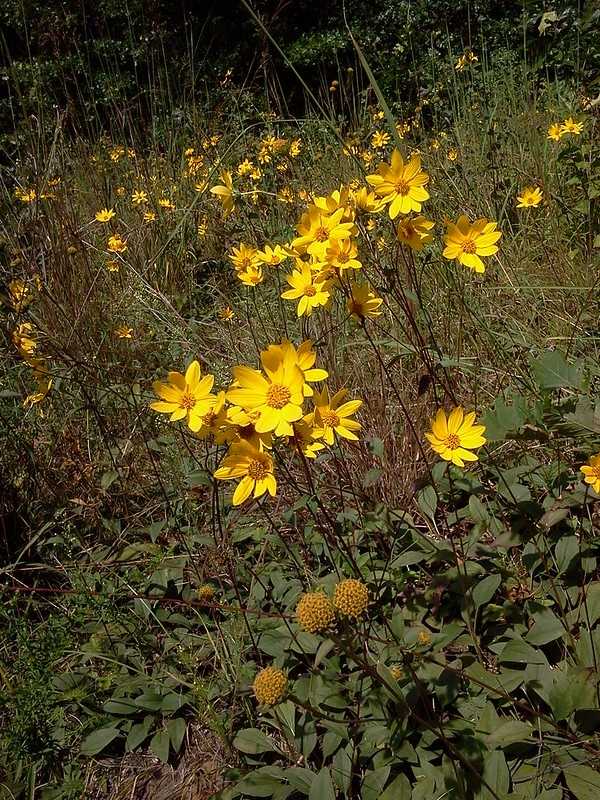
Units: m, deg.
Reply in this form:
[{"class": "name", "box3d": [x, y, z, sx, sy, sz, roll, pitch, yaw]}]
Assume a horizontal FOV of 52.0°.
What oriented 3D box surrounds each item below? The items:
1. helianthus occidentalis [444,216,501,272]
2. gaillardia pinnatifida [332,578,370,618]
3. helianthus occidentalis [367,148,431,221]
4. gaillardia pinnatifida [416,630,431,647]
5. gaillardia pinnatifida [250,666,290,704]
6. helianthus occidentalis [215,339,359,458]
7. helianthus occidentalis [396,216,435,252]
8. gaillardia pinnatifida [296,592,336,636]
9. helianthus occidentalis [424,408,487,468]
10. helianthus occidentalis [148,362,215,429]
[{"class": "helianthus occidentalis", "box3d": [0.398, -0.387, 1.459, 0.125, 0.048, 0.111, 19, -11, 4]}, {"class": "gaillardia pinnatifida", "box3d": [0.082, 0.309, 0.968, 0.055, 0.056, 0.061, -2, -9, 7]}, {"class": "helianthus occidentalis", "box3d": [0.246, -0.519, 1.463, 0.155, 0.041, 0.142, 20, -12, -17]}, {"class": "gaillardia pinnatifida", "box3d": [0.254, 0.493, 1.288, 0.035, 0.034, 0.034, 3, -5, -14]}, {"class": "gaillardia pinnatifida", "box3d": [-0.044, 0.439, 0.958, 0.051, 0.051, 0.058, -11, -6, 1]}, {"class": "helianthus occidentalis", "box3d": [0.018, 0.003, 1.206, 0.263, 0.256, 0.131, -11, 14, 15]}, {"class": "helianthus occidentalis", "box3d": [0.288, -0.409, 1.525, 0.087, 0.094, 0.085, -11, 27, 13]}, {"class": "gaillardia pinnatifida", "box3d": [0.030, 0.332, 0.974, 0.064, 0.057, 0.060, -28, 61, 7]}, {"class": "helianthus occidentalis", "box3d": [0.298, 0.074, 1.250, 0.124, 0.052, 0.124, -29, 17, -2]}, {"class": "helianthus occidentalis", "box3d": [-0.241, -0.015, 1.273, 0.139, 0.139, 0.056, -16, -16, 16]}]
